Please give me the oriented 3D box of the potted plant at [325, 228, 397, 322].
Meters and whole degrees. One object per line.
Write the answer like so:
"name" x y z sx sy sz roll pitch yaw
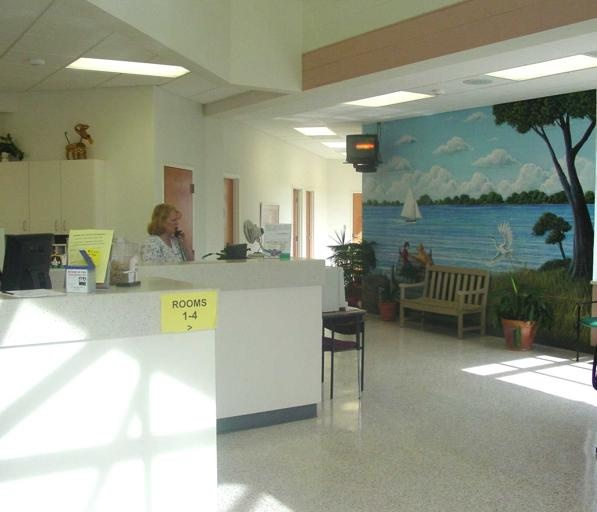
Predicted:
"potted plant" 1.200 0.404 9.473 0.440 1.372 1.369 -4 5 -44

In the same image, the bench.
"bench" 2.314 0.718 8.196 0.698 1.049 1.453 0 1 -23

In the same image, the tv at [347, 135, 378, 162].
"tv" 1.114 -1.815 9.031 0.452 0.490 0.482 0 2 5
